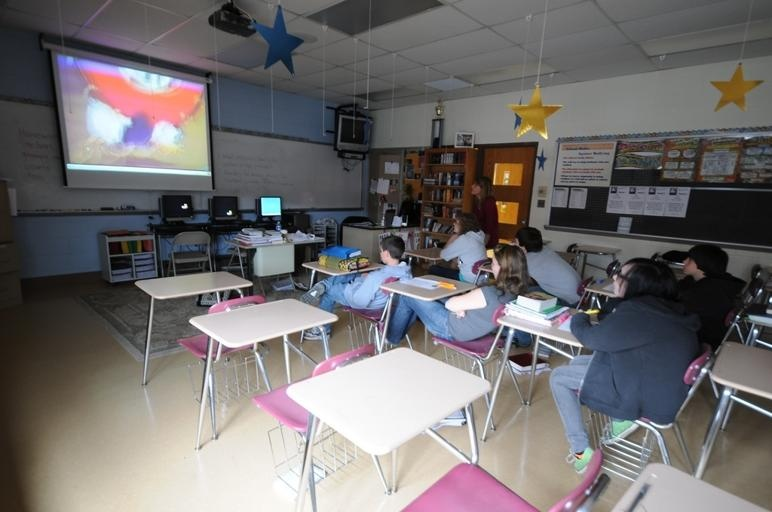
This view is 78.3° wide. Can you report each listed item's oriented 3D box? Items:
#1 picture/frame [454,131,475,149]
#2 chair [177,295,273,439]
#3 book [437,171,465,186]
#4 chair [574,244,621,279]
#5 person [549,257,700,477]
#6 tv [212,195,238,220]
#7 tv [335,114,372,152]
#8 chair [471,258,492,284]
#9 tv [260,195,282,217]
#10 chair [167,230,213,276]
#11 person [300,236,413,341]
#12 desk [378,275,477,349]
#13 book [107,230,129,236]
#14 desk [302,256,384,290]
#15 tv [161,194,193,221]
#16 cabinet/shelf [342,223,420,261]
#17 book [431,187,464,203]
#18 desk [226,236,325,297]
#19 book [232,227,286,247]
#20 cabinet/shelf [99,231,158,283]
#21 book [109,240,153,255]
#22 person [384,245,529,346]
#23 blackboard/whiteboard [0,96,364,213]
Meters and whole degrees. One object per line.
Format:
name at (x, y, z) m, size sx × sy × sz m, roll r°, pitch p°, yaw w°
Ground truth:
picture/frame at (1.449, -2.136, 8.731) m, size 0.346 × 0.290 × 0.048 m, roll 4°, pitch 17°, yaw -1°
chair at (-1.545, 1.129, 4.570) m, size 0.900 × 1.258 × 0.895 m, roll -10°, pitch 26°, yaw -36°
book at (1.218, -1.479, 9.109) m, size 0.164 × 0.245 × 0.591 m, roll -10°, pitch 15°, yaw -41°
chair at (3.319, 0.056, 7.528) m, size 0.573 × 0.603 × 0.650 m, roll 9°, pitch 14°, yaw 44°
person at (2.031, 0.968, 4.058) m, size 1.098 × 1.879 × 0.418 m, roll 2°, pitch 12°, yaw 10°
tv at (-2.904, -0.866, 8.463) m, size 0.206 × 0.382 × 0.410 m, roll 13°, pitch 13°, yaw 37°
tv at (-0.740, -2.613, 10.031) m, size 0.839 × 0.713 × 0.111 m, roll -4°, pitch 14°, yaw -37°
chair at (1.216, 0.178, 6.141) m, size 0.227 × 0.365 × 0.250 m, roll -11°, pitch 23°, yaw -24°
tv at (-2.232, -0.953, 9.051) m, size 0.134 × 0.347 × 0.424 m, roll 13°, pitch 12°, yaw 42°
chair at (-3.255, -0.061, 7.895) m, size 0.680 × 0.795 × 1.151 m, roll -5°, pitch 12°, yaw -24°
person at (-0.339, 0.408, 5.736) m, size 1.265 × 1.461 × 0.802 m, roll 19°, pitch 15°, yaw 35°
desk at (0.453, 0.339, 5.094) m, size 0.969 × 0.877 × 0.821 m, roll -13°, pitch 20°, yaw -42°
book at (-4.215, -0.359, 7.419) m, size 0.192 × 0.047 × 0.203 m, roll 7°, pitch 9°, yaw 30°
desk at (-0.626, 0.166, 5.825) m, size 0.578 × 0.402 × 0.713 m, roll 12°, pitch 17°, yaw 39°
tv at (-3.542, -0.816, 7.946) m, size 0.206 × 0.348 × 0.414 m, roll 16°, pitch 17°, yaw 42°
cabinet/shelf at (-0.054, -0.381, 9.348) m, size 1.114 × 1.015 × 0.832 m, roll -6°, pitch 11°, yaw -41°
book at (1.198, -1.167, 9.180) m, size 0.807 × 0.279 × 0.171 m, roll 10°, pitch 15°, yaw 44°
desk at (-1.969, 0.039, 7.523) m, size 1.128 × 0.676 × 1.097 m, roll -7°, pitch 12°, yaw -39°
book at (-1.896, -0.279, 7.159) m, size 0.740 × 0.232 × 0.496 m, roll -4°, pitch 11°, yaw -22°
cabinet/shelf at (-4.053, 0.015, 7.355) m, size 0.734 × 0.822 × 0.464 m, roll -6°, pitch 9°, yaw -38°
book at (-4.024, -0.140, 7.427) m, size 0.264 × 0.152 × 0.368 m, roll 5°, pitch 7°, yaw 44°
person at (0.751, 0.451, 5.076) m, size 0.587 × 1.381 × 1.093 m, roll -14°, pitch 35°, yaw -31°
blackboard/whiteboard at (-3.245, -1.600, 8.514) m, size 5.803 × 1.795 × 0.475 m, roll -7°, pitch 14°, yaw -36°
